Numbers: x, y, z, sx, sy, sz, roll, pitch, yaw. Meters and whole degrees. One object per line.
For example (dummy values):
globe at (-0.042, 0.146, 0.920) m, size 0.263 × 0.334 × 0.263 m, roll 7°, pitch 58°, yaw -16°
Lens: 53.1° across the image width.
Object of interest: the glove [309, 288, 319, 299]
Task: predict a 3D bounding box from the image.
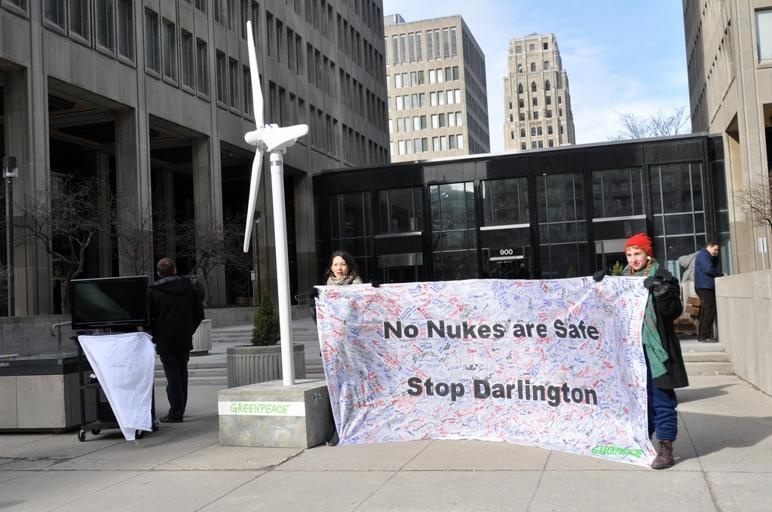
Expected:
glove at (-1.190, 0.640, 12.961) m, size 0.133 × 0.235 × 0.352 m, roll -3°, pitch 8°, yaw -5°

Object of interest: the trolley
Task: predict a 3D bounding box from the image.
trolley at (-4.812, 1.729, 13.573) m, size 1.335 × 2.692 × 0.909 m, roll -4°, pitch 0°, yaw -13°

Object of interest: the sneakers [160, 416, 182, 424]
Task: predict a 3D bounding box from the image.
sneakers at (-4.014, 3.069, 14.541) m, size 0.419 × 0.186 × 0.159 m, roll 5°, pitch -7°, yaw 11°

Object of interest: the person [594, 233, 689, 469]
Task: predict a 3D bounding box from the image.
person at (3.912, 1.355, 11.247) m, size 0.805 × 3.221 × 1.176 m, roll 0°, pitch 7°, yaw 16°

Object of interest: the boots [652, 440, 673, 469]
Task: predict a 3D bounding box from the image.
boots at (3.953, 2.816, 11.023) m, size 0.275 × 0.374 × 0.450 m, roll 1°, pitch 8°, yaw 27°

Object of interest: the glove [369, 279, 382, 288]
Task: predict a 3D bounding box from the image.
glove at (-0.184, 0.480, 12.983) m, size 0.121 × 0.110 × 0.159 m, roll -1°, pitch 3°, yaw 2°

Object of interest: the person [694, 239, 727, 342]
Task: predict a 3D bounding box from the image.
person at (7.811, 0.930, 18.811) m, size 0.605 × 2.453 × 0.764 m, roll 0°, pitch 7°, yaw 21°

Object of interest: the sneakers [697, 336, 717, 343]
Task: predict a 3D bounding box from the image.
sneakers at (7.840, 2.054, 18.896) m, size 0.400 × 0.180 × 0.151 m, roll -2°, pitch -1°, yaw 4°

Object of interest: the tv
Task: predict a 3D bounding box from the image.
tv at (-4.800, 0.834, 13.458) m, size 1.058 × 0.757 × 0.108 m, roll -1°, pitch -6°, yaw 2°
